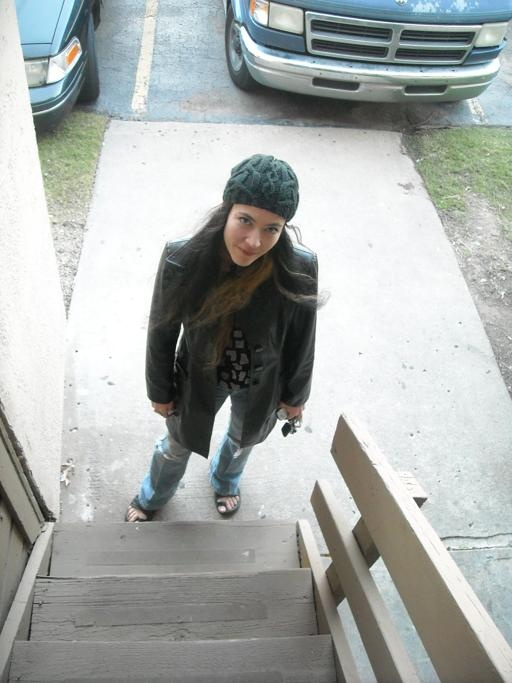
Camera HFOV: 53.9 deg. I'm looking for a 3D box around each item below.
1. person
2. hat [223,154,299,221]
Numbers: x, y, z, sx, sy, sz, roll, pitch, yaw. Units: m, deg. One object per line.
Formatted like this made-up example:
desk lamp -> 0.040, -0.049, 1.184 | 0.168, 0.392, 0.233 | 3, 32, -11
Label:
person -> -0.137, 0.122, 1.847 | 0.647, 1.536, 0.383 | -5, 40, -16
hat -> 0.027, -0.436, 1.351 | 0.183, 0.149, 0.203 | 13, 7, -30
